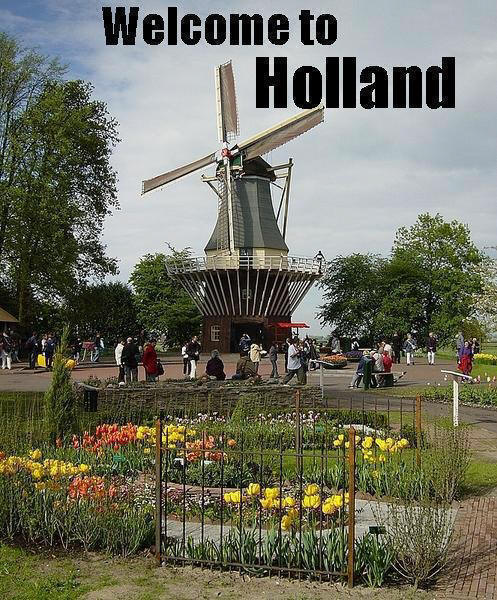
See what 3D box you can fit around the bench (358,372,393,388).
[{"bbox_3d":[4.711,2.784,23.411,0.777,0.524,1.499,-2,-5,11],"label":"bench"}]
